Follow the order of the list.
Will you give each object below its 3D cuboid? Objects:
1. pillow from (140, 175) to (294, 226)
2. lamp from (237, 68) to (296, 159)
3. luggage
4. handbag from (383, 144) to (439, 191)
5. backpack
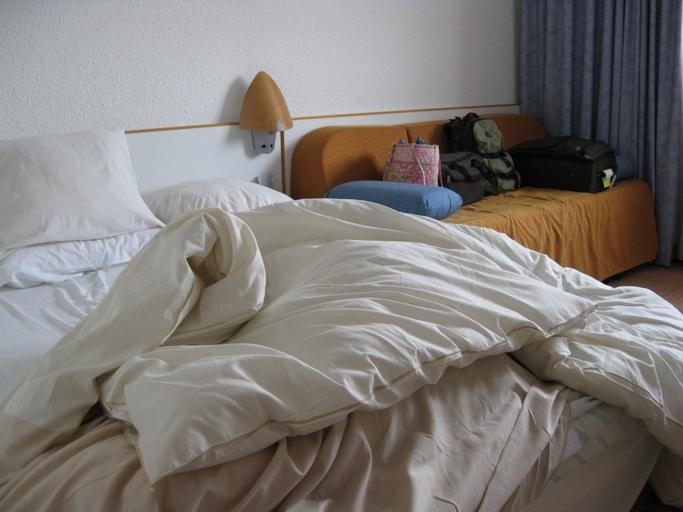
[{"bbox_3d":[-0.672,-0.293,2.540,0.511,0.127,0.585,-12,15,22],"label":"pillow"},{"bbox_3d":[-0.432,-0.796,2.904,0.294,0.451,0.236,-11,20,-14],"label":"lamp"},{"bbox_3d":[1.443,-0.669,3.350,0.517,0.322,0.371,13,24,37],"label":"luggage"},{"bbox_3d":[0.388,-0.499,2.932,0.296,0.282,0.202,8,12,28],"label":"handbag"},{"bbox_3d":[0.949,-0.644,3.426,0.522,0.601,0.279,-13,3,-39],"label":"backpack"}]
